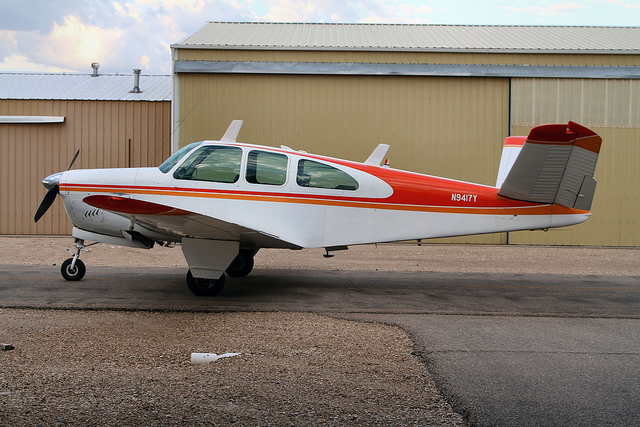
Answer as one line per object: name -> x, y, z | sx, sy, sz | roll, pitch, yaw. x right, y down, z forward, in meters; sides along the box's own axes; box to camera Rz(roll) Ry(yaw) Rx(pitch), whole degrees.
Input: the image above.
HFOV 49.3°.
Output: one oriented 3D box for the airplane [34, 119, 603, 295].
airplane -> -0.108, -0.249, 13.740 | 10.779, 1.867, 8.682 | 2, 3, 8
